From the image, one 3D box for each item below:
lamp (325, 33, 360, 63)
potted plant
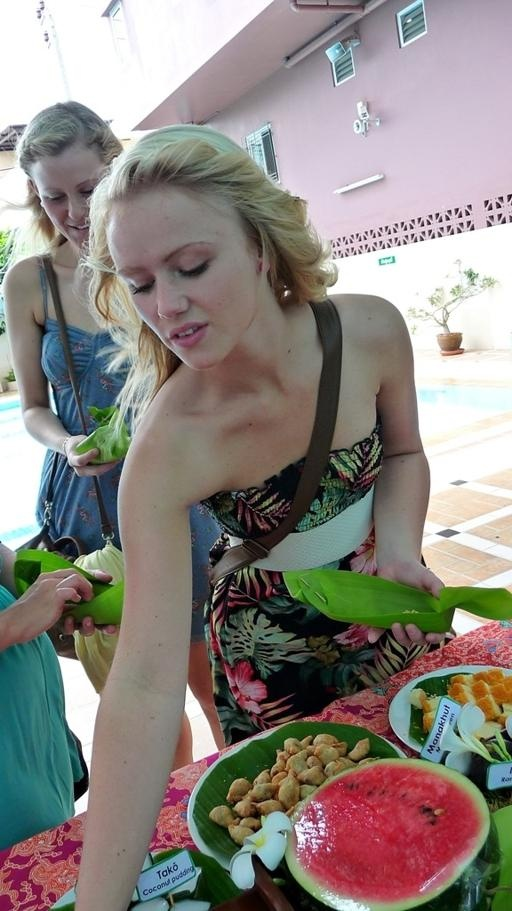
[{"bbox_3d":[1.343,-6.643,10.205,0.326,0.228,0.758,-18,18,-25],"label":"lamp"},{"bbox_3d":[3.023,-2.351,9.938,1.303,1.500,1.253,-2,40,30],"label":"potted plant"}]
